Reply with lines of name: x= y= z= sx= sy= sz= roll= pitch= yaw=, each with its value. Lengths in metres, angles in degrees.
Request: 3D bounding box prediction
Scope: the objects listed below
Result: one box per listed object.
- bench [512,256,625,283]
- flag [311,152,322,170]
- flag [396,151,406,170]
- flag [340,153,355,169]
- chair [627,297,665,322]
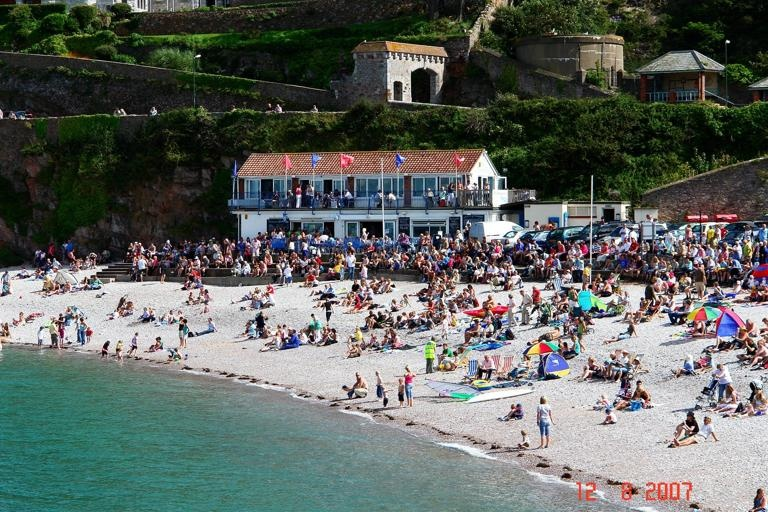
bench: x=13.469 y=1.055 z=128.495 sx=10.669 sy=2.339 sz=1.643 roll=0 pitch=8 yaw=19
flag: x=-5.919 y=-7.977 z=143.563 sx=1.078 sy=1.081 sz=0.322 roll=2 pitch=-30 yaw=-38
flag: x=1.175 y=-7.883 z=141.395 sx=0.853 sy=1.217 sz=2.700 roll=1 pitch=1 yaw=7
flag: x=-3.364 y=-7.809 z=142.047 sx=1.085 sy=1.133 sz=0.335 roll=10 pitch=-30 yaw=-30
chair: x=18.086 y=3.804 z=121.260 sx=2.502 sy=1.391 sz=1.292 roll=0 pitch=-2 yaw=-32
